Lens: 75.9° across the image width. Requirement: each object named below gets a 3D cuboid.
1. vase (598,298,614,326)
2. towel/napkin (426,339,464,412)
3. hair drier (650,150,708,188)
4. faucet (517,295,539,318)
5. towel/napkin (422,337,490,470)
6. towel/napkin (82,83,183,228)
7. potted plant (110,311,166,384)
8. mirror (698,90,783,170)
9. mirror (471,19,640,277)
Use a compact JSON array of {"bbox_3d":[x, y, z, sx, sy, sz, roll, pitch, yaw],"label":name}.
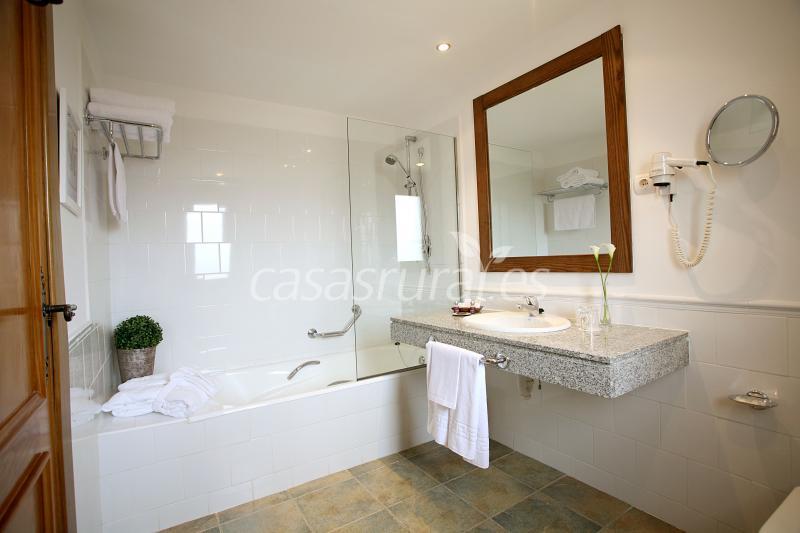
[{"bbox_3d":[1.284,0.270,3.205,0.061,0.180,0.132,-2,4,21],"label":"vase"},{"bbox_3d":[0.311,0.675,3.206,0.087,0.332,0.310,4,-3,-41],"label":"towel/napkin"},{"bbox_3d":[1.571,-0.546,2.896,0.141,0.159,0.271,-5,9,-27],"label":"hair drier"},{"bbox_3d":[0.857,0.272,3.437,0.166,0.162,0.105,-4,-2,31],"label":"faucet"},{"bbox_3d":[0.347,0.814,3.120,0.164,0.663,0.501,-7,5,-40],"label":"towel/napkin"},{"bbox_3d":[-1.849,-0.745,3.619,0.520,0.867,0.563,-5,4,-23],"label":"towel/napkin"},{"bbox_3d":[-1.908,0.606,3.742,0.327,0.448,0.332,-3,-2,-43],"label":"potted plant"},{"bbox_3d":[1.814,-0.723,2.731,0.313,0.363,0.044,-1,5,35],"label":"mirror"},{"bbox_3d":[1.071,-0.815,3.420,0.089,1.908,1.576,-3,-1,-39],"label":"mirror"}]
